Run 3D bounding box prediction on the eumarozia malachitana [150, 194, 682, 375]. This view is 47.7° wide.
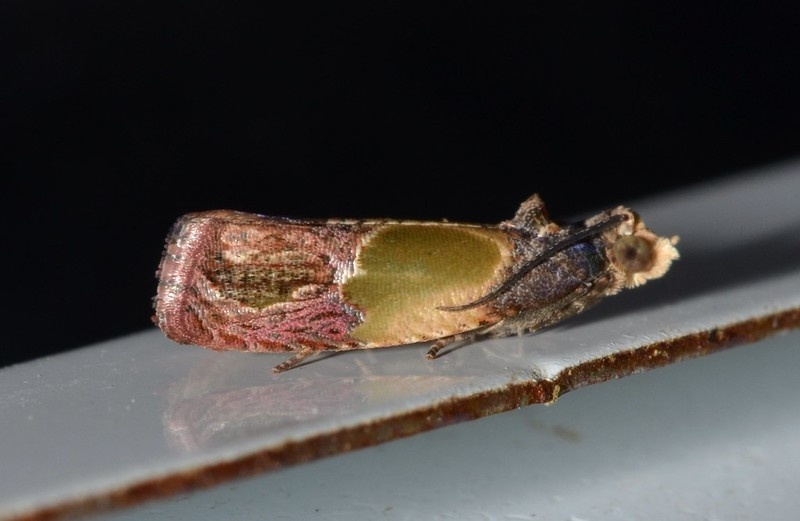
[{"bbox_3d":[0.094,0.045,3.157,1.781,0.535,0.618,0,18,1],"label":"eumarozia malachitana"}]
